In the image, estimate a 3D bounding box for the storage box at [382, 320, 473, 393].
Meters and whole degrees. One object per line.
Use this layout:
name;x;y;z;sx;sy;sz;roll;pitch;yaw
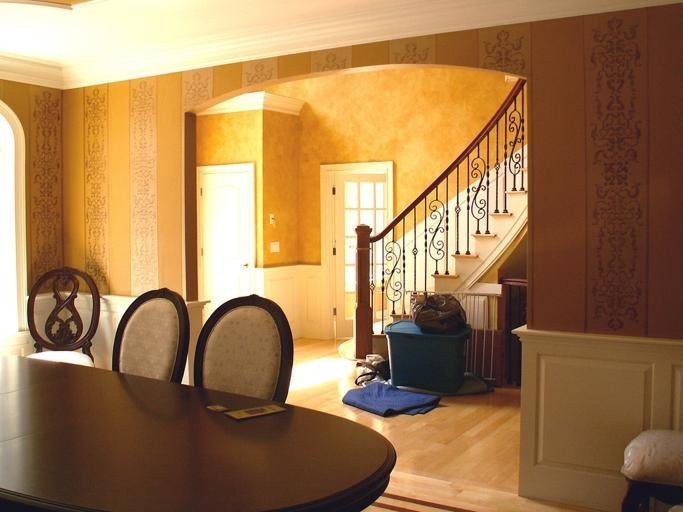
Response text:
storage box;0.856;1.000;5.811;0.835;0.704;0.584;4;16;25
